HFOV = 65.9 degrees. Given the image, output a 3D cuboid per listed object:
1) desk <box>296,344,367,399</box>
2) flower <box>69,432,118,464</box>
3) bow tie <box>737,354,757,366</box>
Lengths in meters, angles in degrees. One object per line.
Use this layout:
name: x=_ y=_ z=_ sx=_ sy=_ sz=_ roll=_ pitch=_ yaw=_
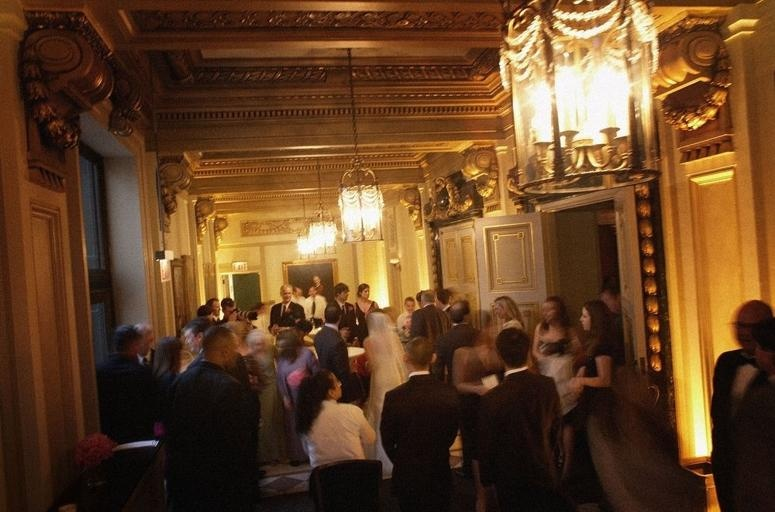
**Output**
desk: x=-0.695 y=1.601 z=8.167 sx=0.909 sy=0.835 sz=0.893 roll=-2 pitch=-9 yaw=2
flower: x=-2.088 y=1.342 z=4.232 sx=0.241 sy=0.199 sz=0.214 roll=2 pitch=25 yaw=37
bow tie: x=2.384 y=0.696 z=3.988 sx=0.071 sy=0.019 sz=0.067 roll=-19 pitch=19 yaw=1
